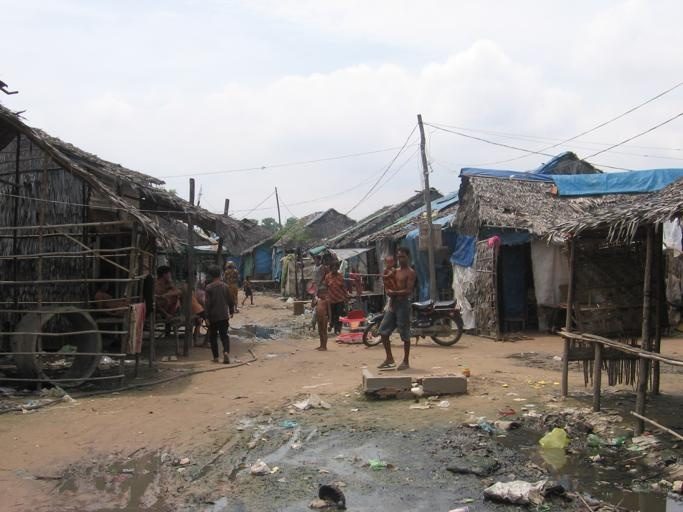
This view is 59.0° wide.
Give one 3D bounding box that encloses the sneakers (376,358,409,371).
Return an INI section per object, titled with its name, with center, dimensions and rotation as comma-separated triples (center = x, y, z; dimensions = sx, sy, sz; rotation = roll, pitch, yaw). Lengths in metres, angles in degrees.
[sneakers]
center = 0.929, 1.921, 10.478
dimensions = 0.625, 0.222, 0.202
rotation = 2, -7, -3

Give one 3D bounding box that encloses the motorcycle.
[motorcycle]
center = 1.565, 1.560, 13.852
dimensions = 2.314, 1.219, 1.022
rotation = 0, 0, 0

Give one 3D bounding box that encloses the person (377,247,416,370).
[person]
center = 0.961, 0.972, 10.563
dimensions = 0.678, 2.190, 0.753
rotation = -1, 9, 8
